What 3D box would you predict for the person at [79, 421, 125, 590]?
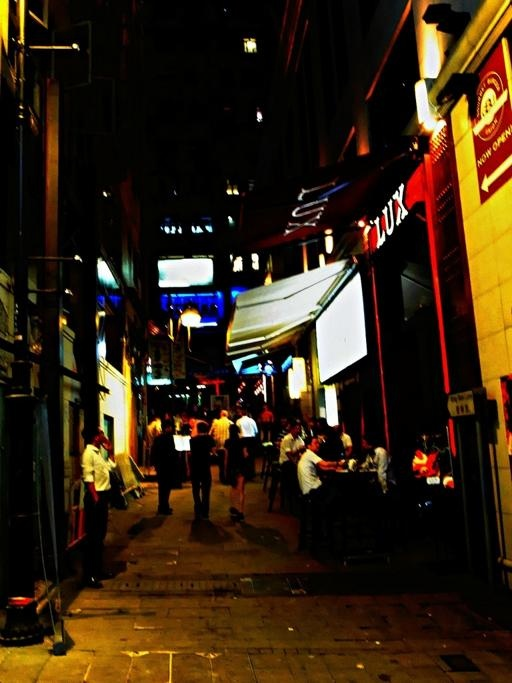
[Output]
[{"bbox_3d":[-1.975,2.093,7.484,0.519,1.868,0.831,1,-7,-18],"label":"person"}]
